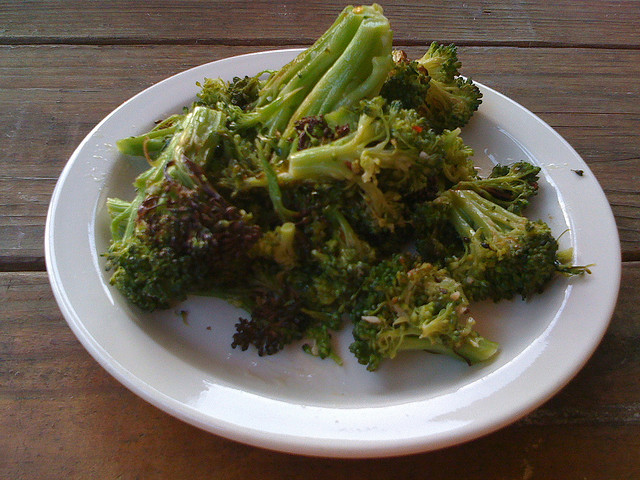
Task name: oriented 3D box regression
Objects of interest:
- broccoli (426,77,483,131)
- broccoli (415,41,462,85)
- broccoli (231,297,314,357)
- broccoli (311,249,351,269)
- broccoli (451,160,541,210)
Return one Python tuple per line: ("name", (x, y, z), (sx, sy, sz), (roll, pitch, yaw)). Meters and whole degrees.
("broccoli", (0.675, -0.642, 2.823), (0.279, 0.151, 0.237), (30, 106, -3))
("broccoli", (0.593, -0.852, 2.923), (0.206, 0.241, 0.150), (3, 86, -42))
("broccoli", (-0.200, 0.351, 2.410), (0.236, 0.278, 0.123), (-20, 106, 18))
("broccoli", (0.054, 0.075, 2.458), (0.178, 0.047, 0.058), (19, 95, 22))
("broccoli", (0.874, -0.269, 2.688), (0.212, 0.267, 0.120), (-22, 74, 23))
